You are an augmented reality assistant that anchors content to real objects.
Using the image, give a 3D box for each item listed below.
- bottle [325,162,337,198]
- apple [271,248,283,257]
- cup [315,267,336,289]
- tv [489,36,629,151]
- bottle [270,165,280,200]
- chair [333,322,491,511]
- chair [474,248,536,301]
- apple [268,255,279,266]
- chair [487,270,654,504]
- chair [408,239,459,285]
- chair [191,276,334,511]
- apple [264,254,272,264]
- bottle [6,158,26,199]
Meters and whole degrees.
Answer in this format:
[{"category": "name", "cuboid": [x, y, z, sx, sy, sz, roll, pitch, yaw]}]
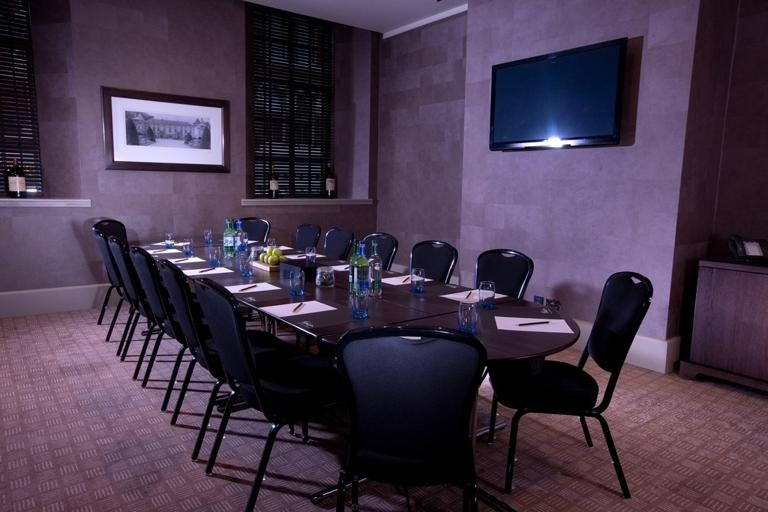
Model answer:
[{"category": "bottle", "cuboid": [-0.870, -1.253, 8.436, 0.191, 0.546, 0.357, -1, 12, -7]}, {"category": "apple", "cuboid": [-0.993, -0.022, 4.769, 0.079, 0.085, 0.081, 17, 27, 37]}, {"category": "cup", "cuboid": [-0.486, 0.177, 4.320, 0.158, 0.150, 0.156, 1, 6, 0]}, {"category": "tv", "cuboid": [1.897, -1.719, 5.396, 1.399, 0.980, 0.147, 5, 8, 43]}, {"category": "bottle", "cuboid": [-1.698, -1.159, 7.887, 0.145, 0.487, 0.342, -2, 12, -12]}, {"category": "chair", "cuboid": [0.150, 0.821, 3.231, 0.950, 1.479, 1.002, 2, 9, 7]}, {"category": "chair", "cuboid": [1.051, 0.139, 4.454, 0.384, 0.669, 0.490, 5, 4, 42]}, {"category": "apple", "cuboid": [-1.006, 0.040, 4.708, 0.092, 0.093, 0.087, 4, 36, 3]}, {"category": "chair", "cuboid": [1.291, 0.851, 3.796, 1.103, 1.539, 0.927, 1, 8, 10]}, {"category": "chair", "cuboid": [0.440, 0.057, 5.090, 0.383, 0.648, 0.455, 4, 4, 38]}, {"category": "chair", "cuboid": [-0.802, 0.860, 3.566, 0.811, 1.475, 0.957, -9, 15, -40]}, {"category": "apple", "cuboid": [-1.081, 0.027, 4.743, 0.075, 0.069, 0.074, -1, 7, -25]}, {"category": "bottle", "cuboid": [-4.491, -0.958, 6.254, 0.201, 0.454, 0.293, -8, 14, -34]}]
